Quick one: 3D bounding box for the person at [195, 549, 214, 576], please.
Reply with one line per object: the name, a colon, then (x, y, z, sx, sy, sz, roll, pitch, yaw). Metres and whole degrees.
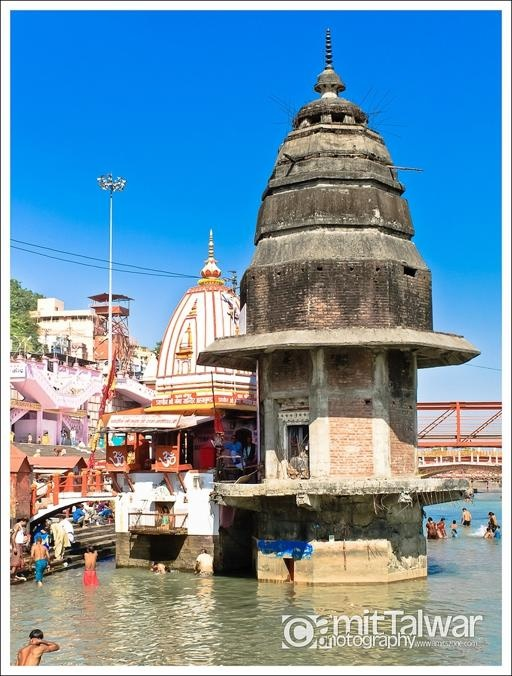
person: (-1.447, 6.432, 29.898, 0.629, 0.950, 0.515, 2, -34, -3)

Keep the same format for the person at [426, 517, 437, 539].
person: (7.187, 7.709, 42.742, 0.418, 0.843, 1.529, 0, -4, 8)
